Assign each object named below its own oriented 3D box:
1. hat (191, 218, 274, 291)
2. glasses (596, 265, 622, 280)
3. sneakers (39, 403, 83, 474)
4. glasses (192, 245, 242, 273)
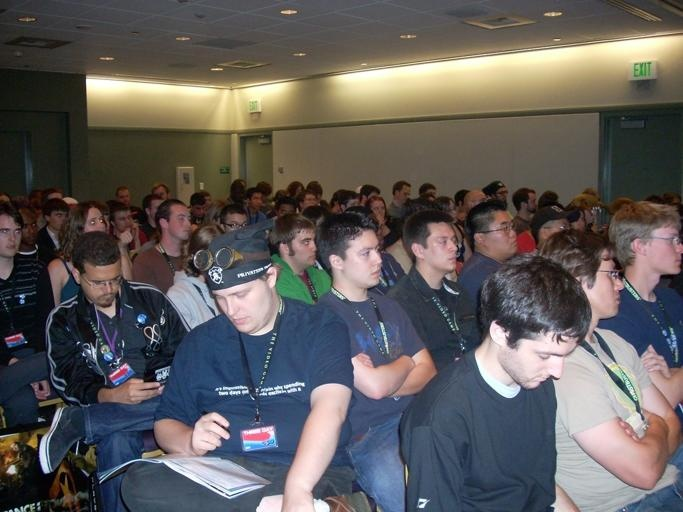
[{"bbox_3d":[-0.470,-0.008,2.366,0.252,0.245,0.366,-12,3,38],"label":"hat"},{"bbox_3d":[1.422,0.087,2.703,0.095,0.029,0.099,9,3,44],"label":"glasses"},{"bbox_3d":[-1.571,1.014,2.932,0.159,0.139,0.403,-9,41,5],"label":"sneakers"},{"bbox_3d":[-0.547,0.024,2.210,0.122,0.060,0.152,-9,-6,22],"label":"glasses"}]
